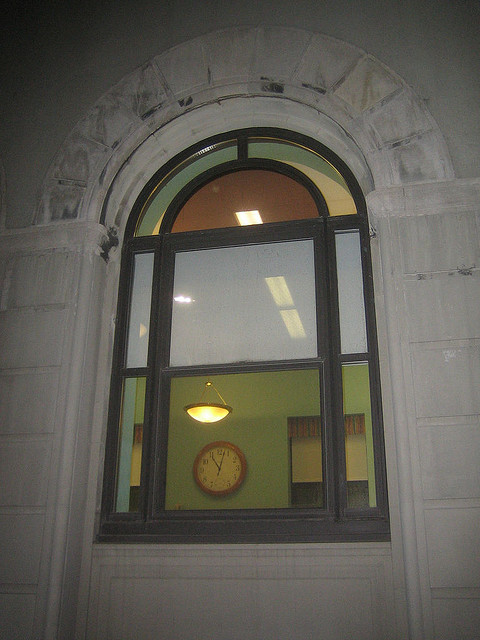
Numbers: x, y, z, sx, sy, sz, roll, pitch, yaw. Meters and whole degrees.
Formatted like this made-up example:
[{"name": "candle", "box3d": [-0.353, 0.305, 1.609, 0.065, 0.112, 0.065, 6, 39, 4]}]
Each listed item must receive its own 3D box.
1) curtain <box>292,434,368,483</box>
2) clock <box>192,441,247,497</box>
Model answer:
[{"name": "curtain", "box3d": [0.363, 0.579, 2.115, 0.352, 0.242, 0.014, -9, -33, 25]}, {"name": "clock", "box3d": [-0.123, 0.851, 2.850, 0.332, 0.293, 0.423, -9, -16, 26]}]
